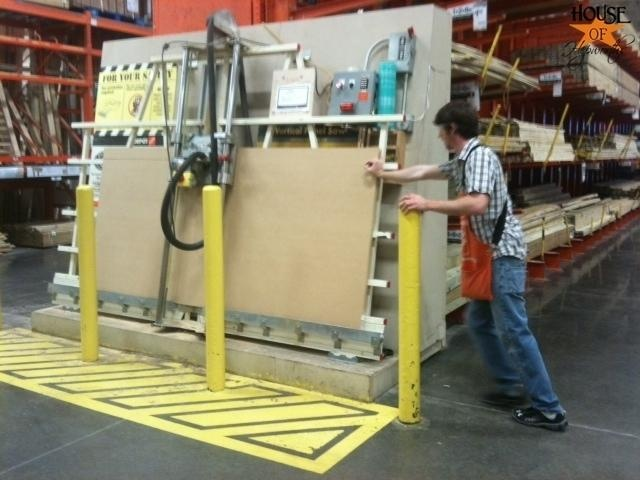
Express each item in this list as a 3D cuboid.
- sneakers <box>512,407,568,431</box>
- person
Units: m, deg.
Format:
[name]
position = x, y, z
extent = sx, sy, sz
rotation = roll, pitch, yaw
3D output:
[sneakers]
position = 1.674, 1.297, 4.242
extent = 0.333, 0.157, 0.165
rotation = 10, 11, 40
[person]
position = 1.297, 0.136, 4.395
extent = 1.415, 2.391, 0.881
rotation = 6, 12, 27
